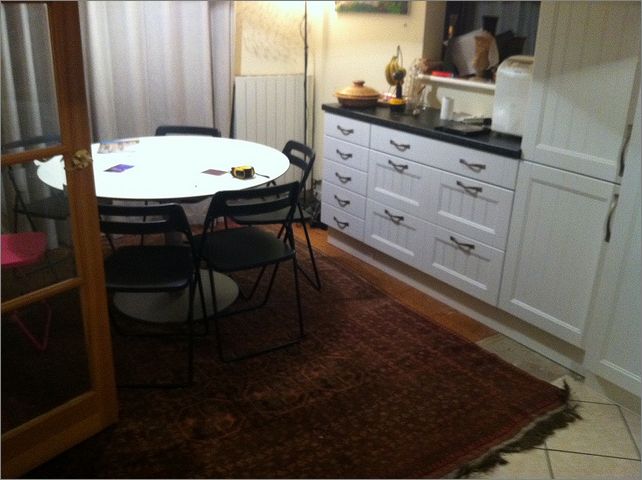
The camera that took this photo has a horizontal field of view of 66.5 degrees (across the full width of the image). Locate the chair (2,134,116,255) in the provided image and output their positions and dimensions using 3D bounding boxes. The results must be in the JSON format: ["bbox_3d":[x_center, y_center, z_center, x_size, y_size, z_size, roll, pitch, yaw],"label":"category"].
[{"bbox_3d":[-0.915,-0.198,1.828,0.309,0.425,0.251,21,34,18],"label":"chair"}]

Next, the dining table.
[{"bbox_3d":[-0.820,-0.153,2.980,1.182,0.728,1.188,-1,35,-7],"label":"dining table"}]

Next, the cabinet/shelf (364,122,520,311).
[{"bbox_3d":[0.780,-0.161,3.054,0.490,0.836,0.967,-16,30,-35],"label":"cabinet/shelf"}]

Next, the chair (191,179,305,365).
[{"bbox_3d":[-0.443,0.127,2.806,0.741,0.977,0.747,7,20,13],"label":"chair"}]
